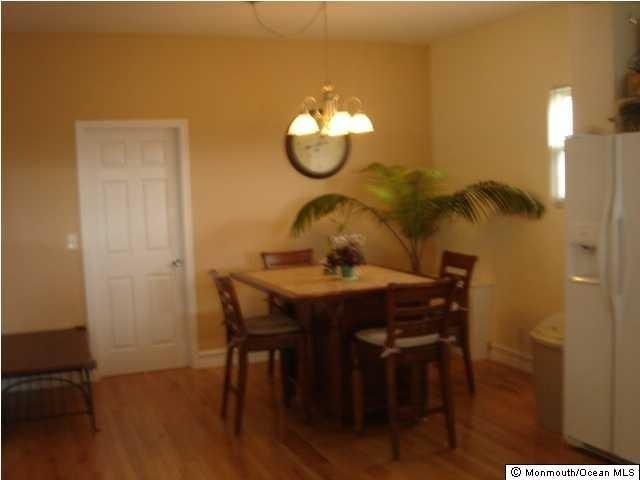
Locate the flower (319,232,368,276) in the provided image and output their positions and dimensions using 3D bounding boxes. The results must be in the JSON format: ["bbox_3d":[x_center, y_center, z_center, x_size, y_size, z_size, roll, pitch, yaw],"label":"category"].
[{"bbox_3d":[0.109,0.068,2.811,0.227,0.273,0.216,-1,2,-22],"label":"flower"}]

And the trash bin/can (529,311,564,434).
[{"bbox_3d":[1.229,0.761,2.770,0.154,0.551,0.146,-1,8,24],"label":"trash bin/can"}]

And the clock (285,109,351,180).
[{"bbox_3d":[-0.012,-0.533,2.846,0.388,0.421,0.057,-3,1,-16],"label":"clock"}]

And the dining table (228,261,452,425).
[{"bbox_3d":[0.063,0.456,2.759,0.814,0.748,0.846,-3,7,-30],"label":"dining table"}]

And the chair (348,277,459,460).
[{"bbox_3d":[0.445,0.642,2.577,0.508,0.955,0.426,-7,7,-17],"label":"chair"}]

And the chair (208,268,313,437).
[{"bbox_3d":[-0.345,0.501,3.167,0.710,1.199,0.661,-4,8,-20],"label":"chair"}]

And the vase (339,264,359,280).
[{"bbox_3d":[0.166,0.175,2.816,0.080,0.064,0.079,-2,5,-28],"label":"vase"}]

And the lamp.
[{"bbox_3d":[0.037,-0.946,2.796,0.472,0.747,0.524,-3,7,7],"label":"lamp"}]
